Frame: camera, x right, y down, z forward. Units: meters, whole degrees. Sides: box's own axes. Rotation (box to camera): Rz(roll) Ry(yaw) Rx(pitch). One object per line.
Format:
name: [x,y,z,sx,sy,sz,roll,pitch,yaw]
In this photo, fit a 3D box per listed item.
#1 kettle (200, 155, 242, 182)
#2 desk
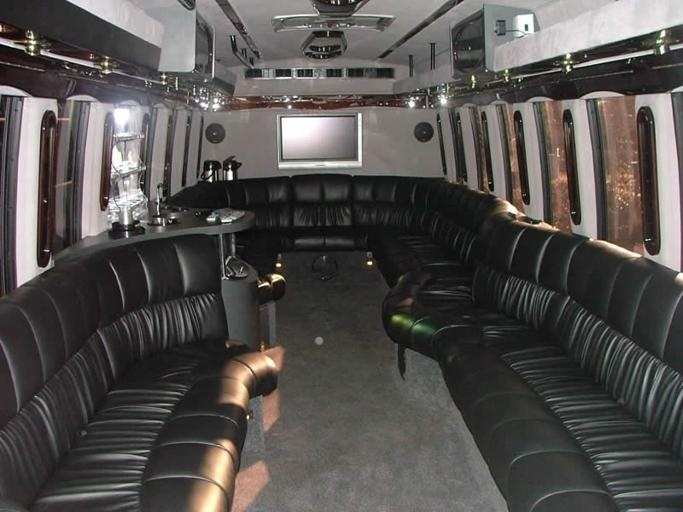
kettle: [-1.898,-1.355,6.895,0.558,0.226,0.542,1,-68,-5]
desk: [-1.274,0.171,3.798,1.660,1.196,1.521,-12,-68,-27]
